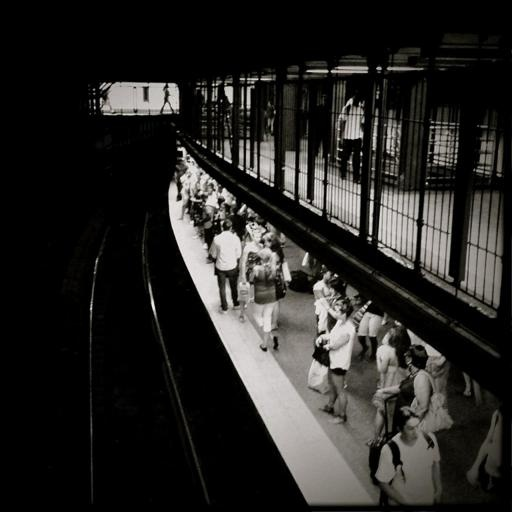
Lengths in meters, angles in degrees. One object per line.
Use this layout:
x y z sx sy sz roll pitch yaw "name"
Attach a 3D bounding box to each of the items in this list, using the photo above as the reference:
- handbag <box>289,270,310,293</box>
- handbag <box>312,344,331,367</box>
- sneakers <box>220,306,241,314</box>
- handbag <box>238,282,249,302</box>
1.112 0.641 13.488 0.335 0.673 0.517 2 -5 -14 "handbag"
1.111 1.696 8.755 0.116 0.383 0.299 0 12 -41 "handbag"
-0.631 1.305 12.708 0.506 0.304 0.200 0 -14 -14 "sneakers"
-0.282 0.829 12.200 0.220 0.494 0.437 0 -7 -1 "handbag"
